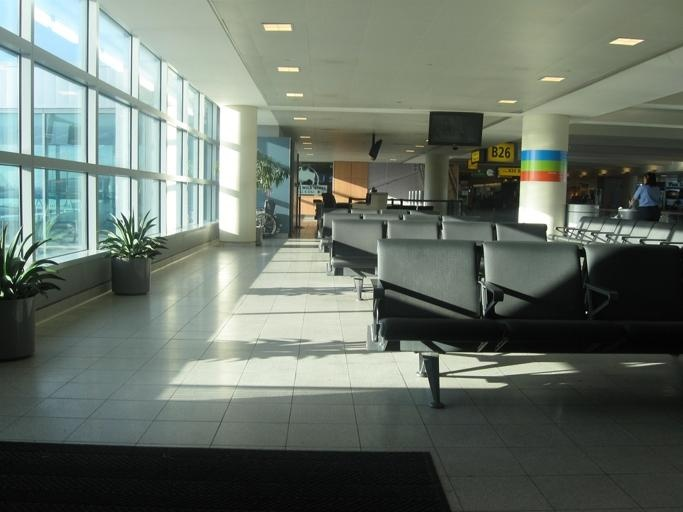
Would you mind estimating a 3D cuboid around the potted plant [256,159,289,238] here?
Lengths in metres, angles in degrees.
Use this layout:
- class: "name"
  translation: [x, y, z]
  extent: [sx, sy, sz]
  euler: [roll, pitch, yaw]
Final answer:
- class: "potted plant"
  translation: [-2.048, -1.637, 15.070]
  extent: [0.693, 2.257, 1.084]
  euler: [4, 9, 21]

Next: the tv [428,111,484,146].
- class: "tv"
  translation: [2.443, -2.732, 11.649]
  extent: [1.098, 0.547, 0.100]
  euler: [0, 9, -7]

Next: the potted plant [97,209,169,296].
- class: "potted plant"
  translation: [-2.642, -0.024, 6.933]
  extent: [0.858, 0.860, 0.776]
  euler: [7, 10, 3]
